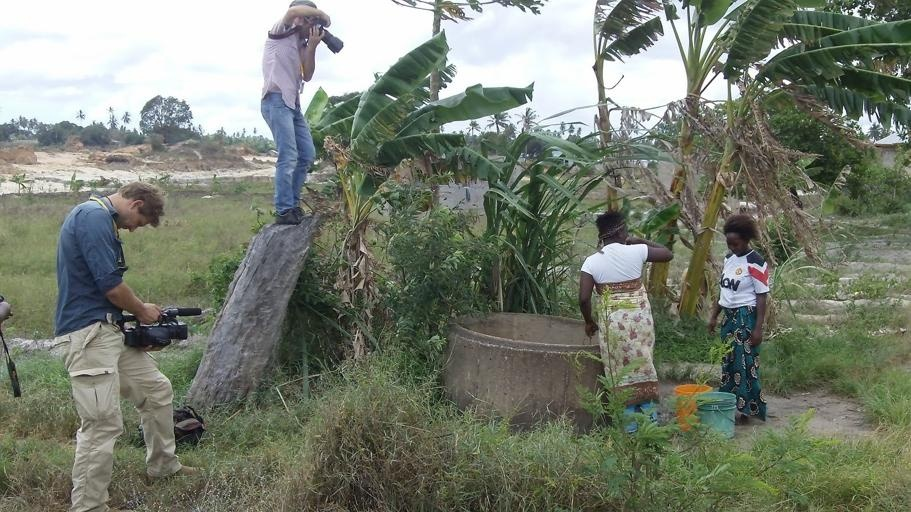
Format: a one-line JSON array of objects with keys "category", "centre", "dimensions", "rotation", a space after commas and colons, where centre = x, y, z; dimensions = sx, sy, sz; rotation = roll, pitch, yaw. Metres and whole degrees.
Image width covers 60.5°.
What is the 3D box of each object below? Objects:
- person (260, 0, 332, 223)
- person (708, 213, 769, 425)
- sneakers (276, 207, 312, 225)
[{"category": "person", "centre": [-2.198, -1.978, 10.666], "dimensions": [0.806, 3.080, 0.634], "rotation": [-2, 6, -38]}, {"category": "person", "centre": [3.842, 0.825, 10.321], "dimensions": [0.646, 2.755, 0.298], "rotation": [3, 5, 19]}, {"category": "sneakers", "centre": [-2.215, -0.542, 10.507], "dimensions": [0.521, 0.194, 0.161], "rotation": [-7, 18, -7]}]
